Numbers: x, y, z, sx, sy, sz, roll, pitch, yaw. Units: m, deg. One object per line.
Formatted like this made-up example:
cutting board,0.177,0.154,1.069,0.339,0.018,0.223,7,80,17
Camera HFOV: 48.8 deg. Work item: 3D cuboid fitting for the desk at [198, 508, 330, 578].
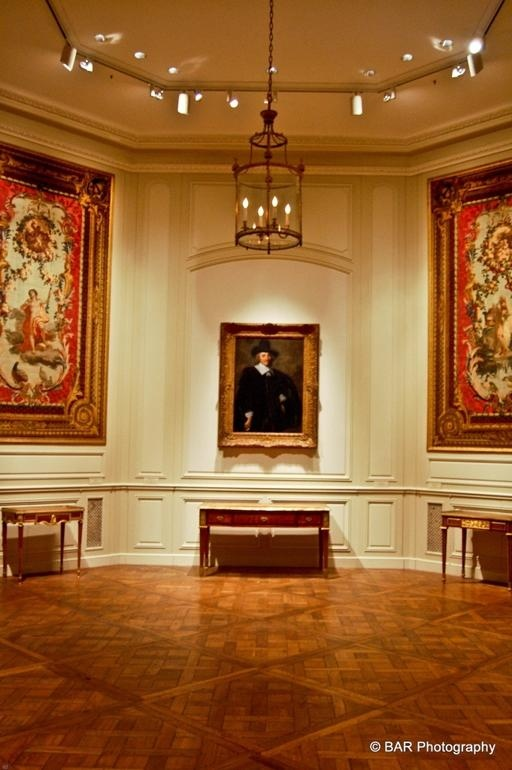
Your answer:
desk,0.072,1.587,5.794,1.297,0.742,0.554,2,-2,0

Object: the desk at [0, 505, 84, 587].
desk,-2.072,1.511,5.413,0.642,0.735,0.811,0,-3,35

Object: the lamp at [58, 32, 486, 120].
lamp,0.168,-2.674,5.116,3.499,0.282,1.106,1,-2,2
